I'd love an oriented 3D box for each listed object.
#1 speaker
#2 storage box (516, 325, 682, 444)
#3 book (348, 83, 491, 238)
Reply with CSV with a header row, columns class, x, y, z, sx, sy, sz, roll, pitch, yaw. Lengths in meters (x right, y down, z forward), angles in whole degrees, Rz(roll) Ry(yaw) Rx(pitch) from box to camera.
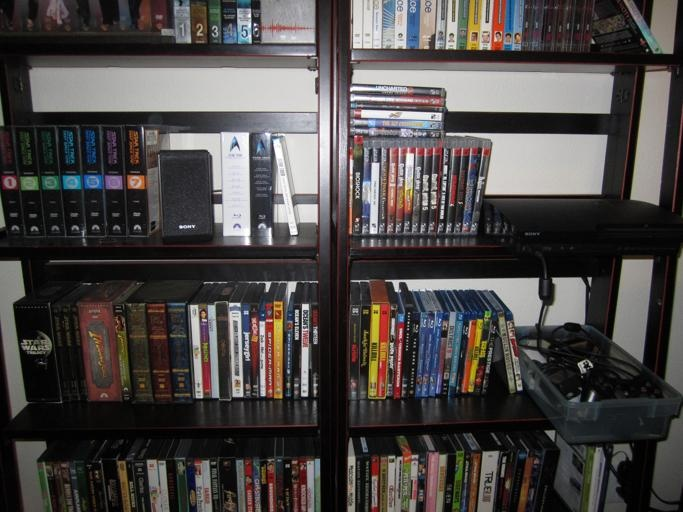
class,x,y,z,sx,sy,sz,roll,pitch,yaw
speaker,-0.534,-0.186,1.973,0.178,0.321,0.174,-3,-12,-21
storage box,0.879,0.445,1.957,0.386,0.192,0.573,0,14,-4
book,0.246,-0.306,1.909,0.484,0.506,0.265,1,15,-5
